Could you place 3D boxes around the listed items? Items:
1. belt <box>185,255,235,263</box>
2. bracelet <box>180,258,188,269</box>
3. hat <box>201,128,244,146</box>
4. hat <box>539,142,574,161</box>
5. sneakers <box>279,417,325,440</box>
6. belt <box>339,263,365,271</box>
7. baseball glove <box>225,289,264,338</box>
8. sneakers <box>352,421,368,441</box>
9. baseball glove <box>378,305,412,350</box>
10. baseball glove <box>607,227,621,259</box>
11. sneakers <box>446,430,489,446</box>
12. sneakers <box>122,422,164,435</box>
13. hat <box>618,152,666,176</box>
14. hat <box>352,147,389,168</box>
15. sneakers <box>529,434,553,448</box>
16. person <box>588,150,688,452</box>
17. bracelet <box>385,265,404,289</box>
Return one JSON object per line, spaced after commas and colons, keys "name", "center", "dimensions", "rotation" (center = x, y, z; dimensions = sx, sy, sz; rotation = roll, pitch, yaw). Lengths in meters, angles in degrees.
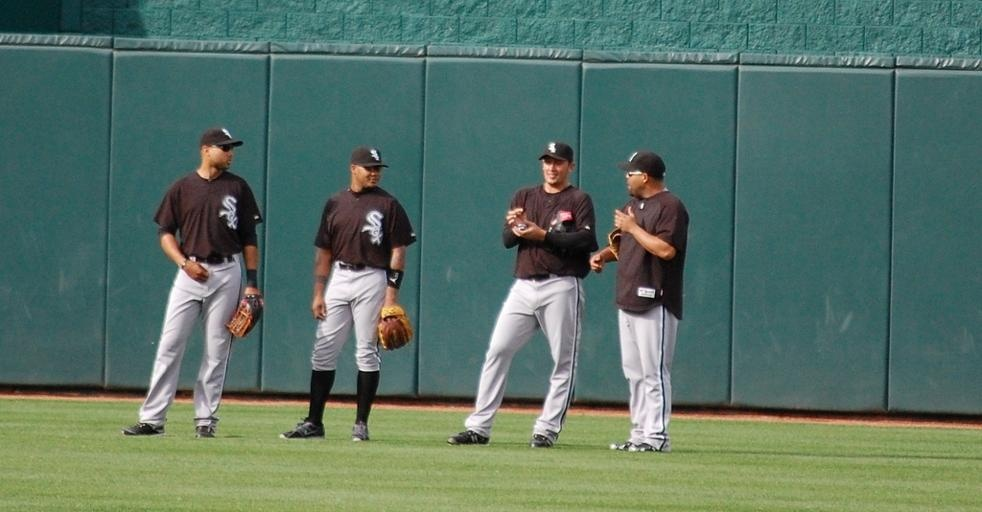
{"name": "belt", "center": [-3.150, 0.040, 15.346], "dimensions": [0.483, 0.107, 0.094], "rotation": [4, -5, 0]}
{"name": "bracelet", "center": [-3.426, 0.096, 15.261], "dimensions": [0.098, 0.083, 0.097], "rotation": [9, -6, -16]}
{"name": "hat", "center": [-3.045, -1.330, 15.469], "dimensions": [0.452, 0.183, 0.287], "rotation": [2, 5, -2]}
{"name": "hat", "center": [0.785, -1.172, 15.473], "dimensions": [0.244, 0.149, 0.334], "rotation": [9, -5, 44]}
{"name": "sneakers", "center": [-2.181, 1.996, 15.540], "dimensions": [0.589, 0.220, 0.195], "rotation": [2, -7, -4]}
{"name": "belt", "center": [-1.574, 0.122, 15.360], "dimensions": [0.302, 0.091, 0.055], "rotation": [3, -5, 16]}
{"name": "baseball glove", "center": [-2.901, 0.644, 15.508], "dimensions": [0.321, 0.497, 0.520], "rotation": [26, 12, -25]}
{"name": "sneakers", "center": [-1.486, 2.001, 15.453], "dimensions": [0.153, 0.219, 0.235], "rotation": [-3, -18, 12]}
{"name": "baseball glove", "center": [-1.108, 0.797, 15.375], "dimensions": [0.373, 0.499, 0.152], "rotation": [5, -5, -6]}
{"name": "baseball glove", "center": [1.380, -0.156, 15.588], "dimensions": [0.130, 0.271, 0.231], "rotation": [2, 6, -17]}
{"name": "sneakers", "center": [-0.274, 2.073, 15.471], "dimensions": [0.372, 0.138, 0.189], "rotation": [5, -8, 0]}
{"name": "sneakers", "center": [-3.894, 1.953, 15.375], "dimensions": [0.436, 0.164, 0.162], "rotation": [4, -6, -2]}
{"name": "hat", "center": [1.682, -1.018, 15.413], "dimensions": [0.430, 0.213, 0.302], "rotation": [19, 17, 4]}
{"name": "hat", "center": [-1.386, -1.104, 15.486], "dimensions": [0.390, 0.176, 0.281], "rotation": [1, 2, 27]}
{"name": "sneakers", "center": [0.542, 2.090, 15.418], "dimensions": [0.209, 0.104, 0.153], "rotation": [11, -5, -32]}
{"name": "person", "center": [1.667, 0.504, 15.288], "dimensions": [0.861, 3.377, 0.602], "rotation": [4, -5, 7]}
{"name": "bracelet", "center": [-1.117, 0.239, 15.477], "dimensions": [0.229, 0.215, 0.218], "rotation": [10, 3, -4]}
